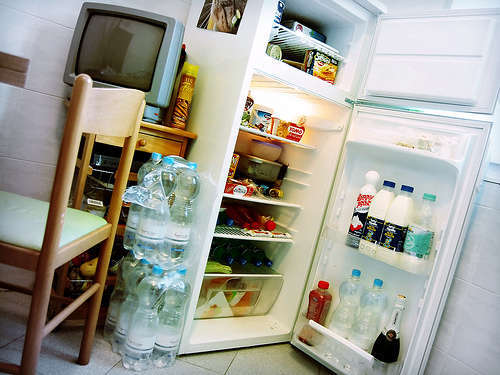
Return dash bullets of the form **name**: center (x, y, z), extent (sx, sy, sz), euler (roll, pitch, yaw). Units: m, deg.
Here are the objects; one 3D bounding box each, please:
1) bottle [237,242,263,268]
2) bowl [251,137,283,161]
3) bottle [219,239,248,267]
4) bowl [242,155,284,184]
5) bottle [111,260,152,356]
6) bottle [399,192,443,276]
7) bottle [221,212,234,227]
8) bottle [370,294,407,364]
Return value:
- **bottle**: center (-0.007, 0.406, 2.062), extent (0.075, 0.080, 0.266), euler (13, -4, -2)
- **bowl**: center (0.105, -0.223, 2.083), extent (0.145, 0.076, 0.135), euler (12, 4, -1)
- **bottle**: center (-0.104, 0.381, 2.003), extent (0.068, 0.068, 0.205), euler (42, 7, -19)
- **bowl**: center (0.023, -0.123, 2.162), extent (0.299, 0.135, 0.231), euler (13, 6, -23)
- **bottle**: center (-0.517, 0.551, 1.655), extent (0.157, 0.524, 0.157), euler (14, 14, -3)
- **bottle**: center (0.781, 0.207, 1.565), extent (0.123, 0.383, 0.114), euler (15, 7, -2)
- **bottle**: center (-0.133, 0.190, 2.020), extent (0.041, 0.041, 0.073), euler (12, 2, -27)
- **bottle**: center (0.661, 0.654, 1.589), extent (0.123, 0.323, 0.073), euler (18, 8, 19)
